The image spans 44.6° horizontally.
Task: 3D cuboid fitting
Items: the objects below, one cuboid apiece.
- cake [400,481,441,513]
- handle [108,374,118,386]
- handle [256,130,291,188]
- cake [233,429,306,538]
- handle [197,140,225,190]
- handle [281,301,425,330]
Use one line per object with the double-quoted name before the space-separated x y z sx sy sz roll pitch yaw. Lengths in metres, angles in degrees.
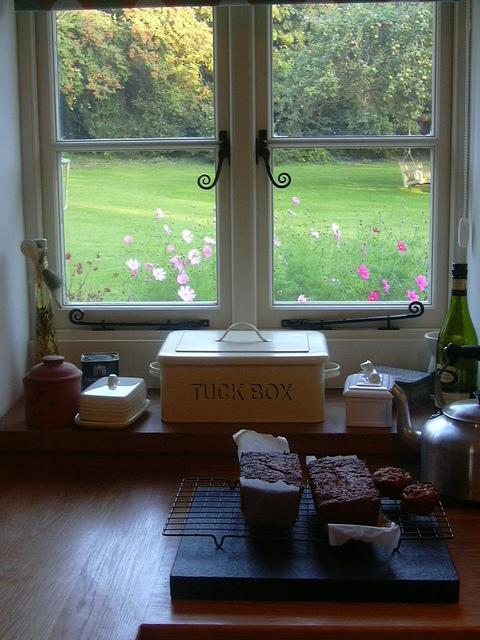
"cake" 0.251 0.250 0.820 0.042 0.018 0.053 -1 13 13
"handle" -0.251 0.123 1.177 0.016 0.019 0.021 1 -3 -1
"handle" 0.082 -0.383 1.389 0.082 0.145 0.042 -2 0 4
"cake" 0.046 0.224 0.811 0.080 0.055 0.172 1 11 1
"handle" -0.067 -0.370 1.397 0.080 0.109 0.016 -3 9 24
"handle" 0.283 -0.008 1.430 0.270 0.044 0.048 -4 -9 9
